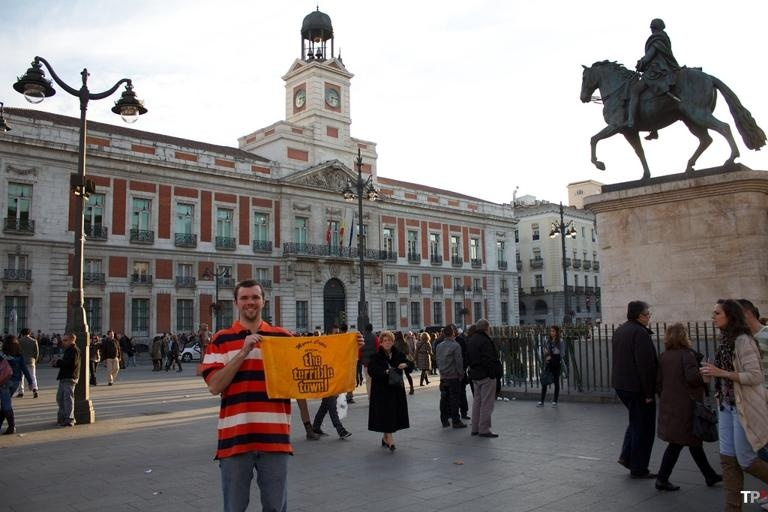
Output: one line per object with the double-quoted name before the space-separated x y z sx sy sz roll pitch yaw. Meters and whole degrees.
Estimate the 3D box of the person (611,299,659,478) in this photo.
"person" 4.501 2.316 12.404 0.818 3.051 1.212 3 -10 4

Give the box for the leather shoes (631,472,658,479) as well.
"leather shoes" 4.460 3.735 11.935 0.421 0.148 0.149 -3 -7 -7

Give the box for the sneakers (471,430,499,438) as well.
"sneakers" 2.185 3.789 14.932 0.543 0.201 0.183 -2 -4 7

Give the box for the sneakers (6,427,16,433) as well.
"sneakers" -8.603 3.980 16.080 0.217 0.158 0.423 2 -8 -28

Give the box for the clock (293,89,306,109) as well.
"clock" -6.443 -12.138 53.829 0.199 1.466 1.494 7 -18 -34

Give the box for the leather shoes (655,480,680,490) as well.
"leather shoes" 4.630 3.736 11.478 0.460 0.188 0.150 -2 0 -9

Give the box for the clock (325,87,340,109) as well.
"clock" -3.888 -12.147 53.875 0.113 1.634 1.531 -9 -10 44

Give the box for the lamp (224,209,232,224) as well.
"lamp" -10.476 -2.737 47.170 0.490 0.847 0.212 2 -8 -27
